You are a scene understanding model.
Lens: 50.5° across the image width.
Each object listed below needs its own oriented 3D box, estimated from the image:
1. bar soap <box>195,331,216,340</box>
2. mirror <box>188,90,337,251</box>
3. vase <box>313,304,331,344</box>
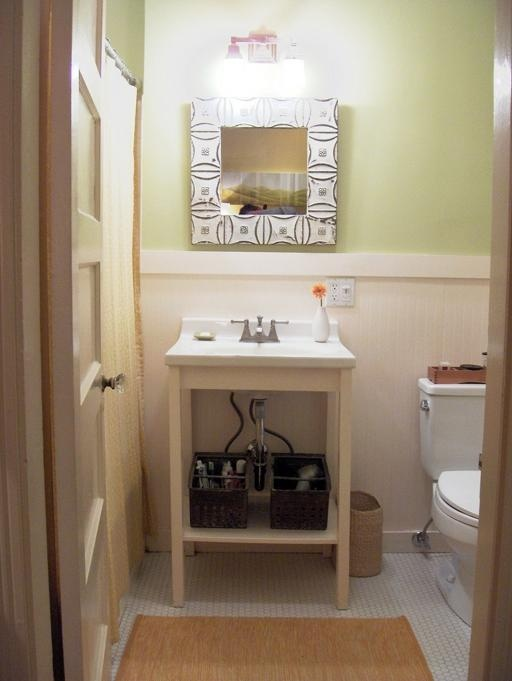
[{"bbox_3d":[-0.203,-0.017,2.142,0.079,0.031,0.088,0,5,-9],"label":"bar soap"},{"bbox_3d":[0.028,-0.691,2.120,0.398,0.546,0.017,0,4,-3],"label":"mirror"},{"bbox_3d":[0.263,-0.065,2.126,0.066,0.140,0.138,2,5,22],"label":"vase"}]
